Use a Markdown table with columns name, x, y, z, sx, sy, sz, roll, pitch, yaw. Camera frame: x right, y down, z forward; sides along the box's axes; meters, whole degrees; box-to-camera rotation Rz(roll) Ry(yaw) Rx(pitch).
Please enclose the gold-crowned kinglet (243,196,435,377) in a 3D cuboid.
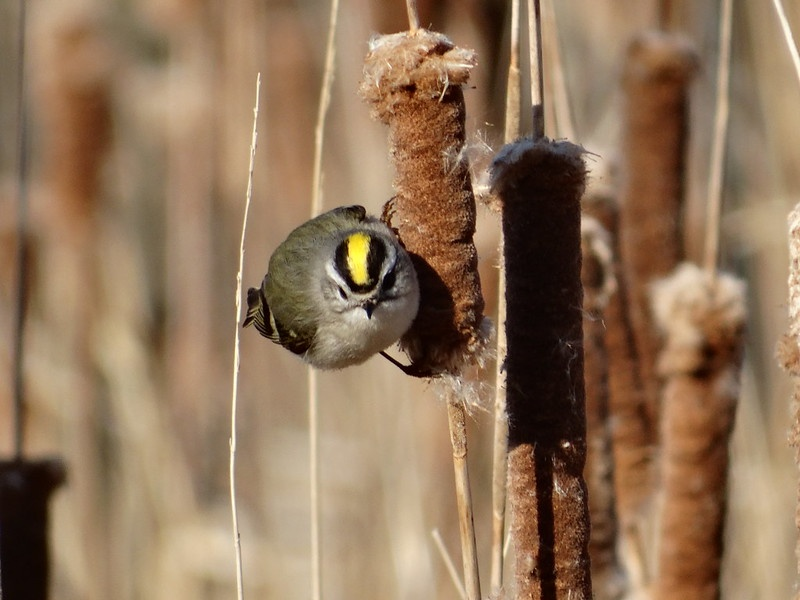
| name | x | y | z | sx | sy | sz | roll | pitch | yaw |
| --- | --- | --- | --- | --- | --- | --- | --- | --- | --- |
| gold-crowned kinglet | -0.438 | -0.134 | 8.288 | 1.134 | 0.624 | 0.922 | 9 | 85 | -47 |
